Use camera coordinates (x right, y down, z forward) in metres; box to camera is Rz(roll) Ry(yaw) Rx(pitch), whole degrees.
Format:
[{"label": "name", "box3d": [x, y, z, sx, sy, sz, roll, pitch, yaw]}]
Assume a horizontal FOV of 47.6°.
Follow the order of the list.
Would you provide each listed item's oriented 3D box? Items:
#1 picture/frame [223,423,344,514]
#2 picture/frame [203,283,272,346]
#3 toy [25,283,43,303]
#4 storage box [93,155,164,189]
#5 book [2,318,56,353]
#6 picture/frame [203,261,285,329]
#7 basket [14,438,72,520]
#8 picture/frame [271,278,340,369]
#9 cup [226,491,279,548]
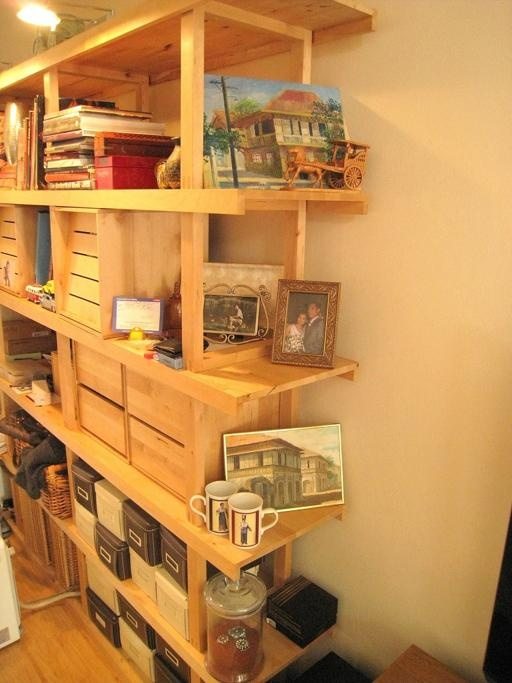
[{"label": "picture/frame", "box3d": [0.085, 0.352, 1.611, 0.318, 0.212, 0.009, -8, -7, 24]}, {"label": "picture/frame", "box3d": [-0.052, -0.073, 1.591, 0.176, 0.143, 0.010, 2, 2, 13]}, {"label": "toy", "box3d": [-0.845, -0.185, 2.207, 0.030, 0.044, 0.086, -8, 15, -44]}, {"label": "storage box", "box3d": [-0.361, -0.453, 1.558, 0.191, 0.088, 0.141, -2, 14, 2]}, {"label": "book", "box3d": [-1.116, -0.019, 2.816, 0.208, 0.127, 0.206, -3, 14, -28]}, {"label": "picture/frame", "box3d": [-0.032, -0.124, 1.605, 0.183, 0.133, 0.019, 8, 9, 15]}, {"label": "basket", "box3d": [-0.879, 0.548, 2.400, 0.227, 0.141, 0.323, -2, 14, -42]}, {"label": "picture/frame", "box3d": [0.126, -0.043, 1.473, 0.216, 0.286, 0.022, 6, -1, 17]}, {"label": "cup", "box3d": [-0.005, 0.450, 1.429, 0.118, 0.100, 0.072, -1, -3, 14]}]
